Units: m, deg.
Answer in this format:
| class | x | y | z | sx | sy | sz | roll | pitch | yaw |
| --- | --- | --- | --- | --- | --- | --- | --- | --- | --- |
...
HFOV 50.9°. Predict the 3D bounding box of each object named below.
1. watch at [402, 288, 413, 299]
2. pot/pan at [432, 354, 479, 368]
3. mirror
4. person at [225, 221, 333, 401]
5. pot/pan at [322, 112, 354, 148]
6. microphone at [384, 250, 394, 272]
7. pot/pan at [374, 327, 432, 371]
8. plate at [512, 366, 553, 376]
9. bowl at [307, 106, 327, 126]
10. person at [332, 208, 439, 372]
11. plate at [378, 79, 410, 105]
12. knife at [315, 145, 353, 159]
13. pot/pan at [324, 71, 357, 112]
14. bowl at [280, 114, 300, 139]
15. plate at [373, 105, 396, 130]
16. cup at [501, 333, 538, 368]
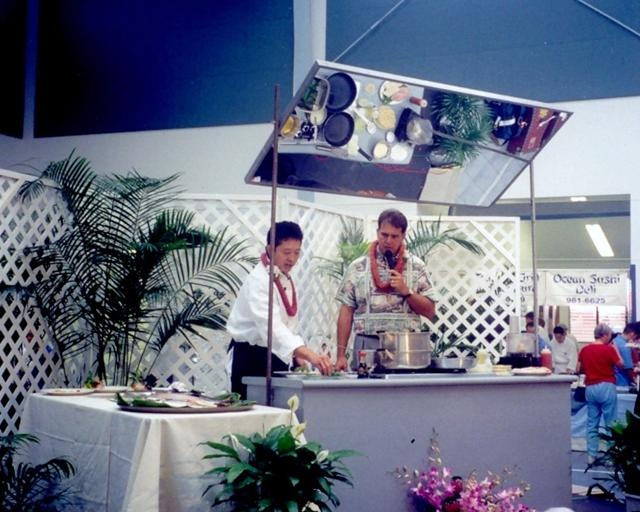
| class | x | y | z | sx | sy | sz | roll | pitch | yaw |
| --- | --- | --- | --- | --- | --- | --- | --- | --- | --- |
| watch | 0.571 | 0.254 | 4.348 | 0.053 | 0.058 | 0.040 | 30 | -13 | 16 |
| pot/pan | 0.739 | 0.594 | 3.690 | 0.235 | 0.074 | 0.134 | 1 | -12 | 11 |
| mirror | 0.552 | -0.640 | 4.052 | 1.697 | 0.444 | 1.075 | 7 | -13 | -17 |
| person | -0.230 | 0.295 | 3.750 | 0.548 | 1.015 | 0.808 | 4 | -11 | -8 |
| pot/pan | 0.113 | -0.727 | 3.848 | 0.165 | 0.132 | 0.228 | -3 | -13 | 27 |
| microphone | 0.467 | 0.027 | 4.522 | 0.060 | 0.121 | 0.029 | -4 | 11 | 33 |
| pot/pan | 0.477 | 0.518 | 3.646 | 0.219 | 0.233 | 0.349 | -7 | -15 | 41 |
| plate | 1.181 | 0.643 | 3.707 | 0.277 | 0.062 | 0.141 | 14 | -16 | -41 |
| bowl | -0.010 | -0.777 | 3.712 | 0.129 | 0.064 | 0.100 | 13 | -15 | -38 |
| person | 0.431 | 0.456 | 4.726 | 0.626 | 1.642 | 0.470 | -1 | 31 | 1 |
| plate | 0.410 | -0.904 | 3.699 | 0.173 | 0.038 | 0.236 | 1 | -12 | 10 |
| knife | 0.078 | -0.622 | 3.965 | 0.250 | 0.046 | 0.084 | 10 | -14 | -28 |
| pot/pan | 0.120 | -0.881 | 3.608 | 0.165 | 0.106 | 0.298 | 3 | -12 | 2 |
| bowl | -0.162 | -0.717 | 3.703 | 0.107 | 0.084 | 0.159 | 4 | -12 | -4 |
| plate | 0.388 | -0.807 | 3.873 | 0.097 | 0.119 | 0.025 | -3 | 8 | -26 |
| cup | 1.189 | 0.560 | 4.001 | 0.165 | 0.200 | 0.184 | 1 | -5 | 2 |
